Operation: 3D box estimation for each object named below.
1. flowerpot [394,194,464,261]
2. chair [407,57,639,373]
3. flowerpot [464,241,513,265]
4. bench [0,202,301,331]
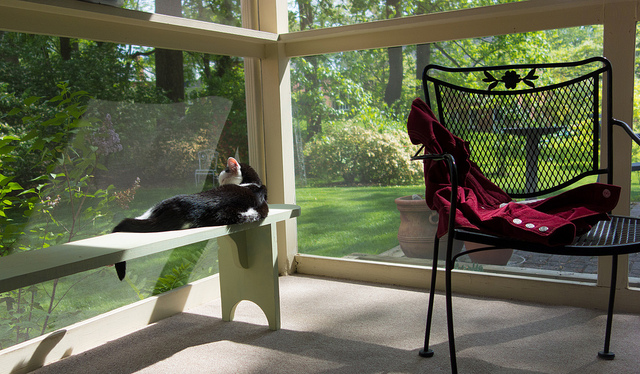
[{"bbox_3d":[0.768,0.281,3.595,0.576,0.477,0.496,2,-1,-16],"label":"flowerpot"},{"bbox_3d":[1.224,0.068,2.823,1.175,1.675,1.749,1,8,20],"label":"chair"},{"bbox_3d":[1.264,0.467,3.430,0.317,0.207,0.323,-4,-4,42],"label":"flowerpot"},{"bbox_3d":[-0.806,0.577,2.571,1.587,0.761,0.398,-9,10,-42],"label":"bench"}]
